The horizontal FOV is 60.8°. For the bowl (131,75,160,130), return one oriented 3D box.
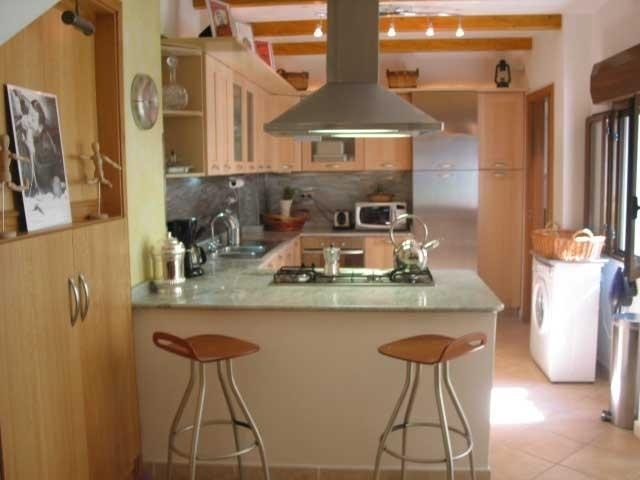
[{"bbox_3d":[-1.031,-0.856,3.385,0.302,0.349,0.059,6,11,6],"label":"bowl"}]

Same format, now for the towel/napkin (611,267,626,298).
[{"bbox_3d":[2.243,0.331,4.106,0.081,0.226,0.185,11,13,23],"label":"towel/napkin"}]

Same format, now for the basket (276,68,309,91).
[{"bbox_3d":[-0.272,-1.817,6.189,0.293,0.218,0.298,2,8,-1],"label":"basket"}]

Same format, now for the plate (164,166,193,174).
[{"bbox_3d":[-0.967,-0.485,3.800,0.061,0.048,0.233,12,13,26],"label":"plate"}]

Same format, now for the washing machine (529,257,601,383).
[{"bbox_3d":[2.161,0.653,4.895,0.452,1.038,0.777,2,7,12],"label":"washing machine"}]

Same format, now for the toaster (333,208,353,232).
[{"bbox_3d":[0.269,-0.239,6.436,0.173,0.215,0.270,0,0,6],"label":"toaster"}]

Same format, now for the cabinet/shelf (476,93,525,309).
[{"bbox_3d":[2.035,-0.494,6.358,0.322,2.129,0.739,2,9,5],"label":"cabinet/shelf"}]

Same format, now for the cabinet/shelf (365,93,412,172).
[{"bbox_3d":[0.795,-1.221,6.283,0.583,0.822,0.493,3,8,10],"label":"cabinet/shelf"}]

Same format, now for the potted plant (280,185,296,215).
[{"bbox_3d":[-0.395,-0.463,6.587,0.166,0.328,0.537,5,12,-3],"label":"potted plant"}]

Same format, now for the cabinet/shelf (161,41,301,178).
[{"bbox_3d":[-0.780,-0.996,4.347,0.639,0.961,2.231,2,8,2],"label":"cabinet/shelf"}]

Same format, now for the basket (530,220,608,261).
[{"bbox_3d":[2.127,0.036,4.671,0.560,0.254,0.523,3,3,-2],"label":"basket"}]

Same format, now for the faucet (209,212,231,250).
[{"bbox_3d":[-0.906,-0.100,5.028,0.228,0.358,0.145,-5,40,-17],"label":"faucet"}]

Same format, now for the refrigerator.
[{"bbox_3d":[1.447,-0.643,6.597,0.889,2.186,0.664,0,4,2],"label":"refrigerator"}]

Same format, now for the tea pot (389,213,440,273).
[{"bbox_3d":[0.639,0.031,3.731,0.353,0.400,0.238,0,11,-4],"label":"tea pot"}]
